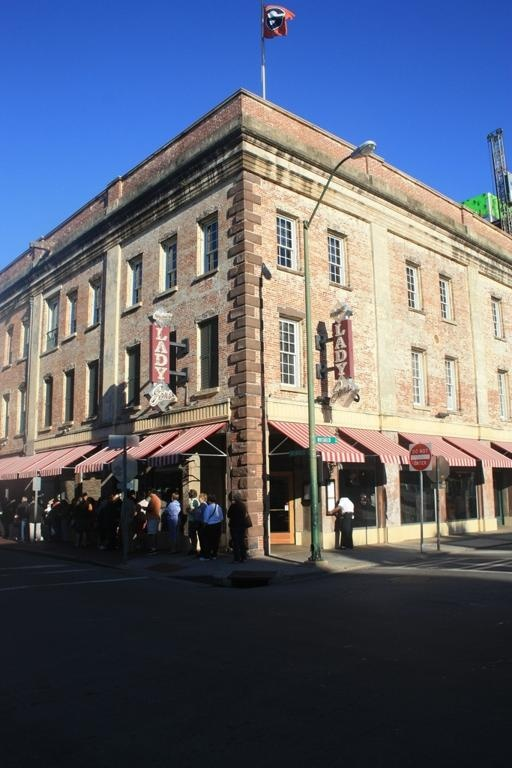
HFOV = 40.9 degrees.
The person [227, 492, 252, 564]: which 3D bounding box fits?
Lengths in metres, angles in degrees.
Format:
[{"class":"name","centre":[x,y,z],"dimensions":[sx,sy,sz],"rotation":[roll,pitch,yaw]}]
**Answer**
[{"class":"person","centre":[-0.392,3.455,16.543],"dimensions":[0.509,1.623,1.183],"rotation":[-1,-14,-1]}]

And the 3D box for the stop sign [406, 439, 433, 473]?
[{"class":"stop sign","centre":[4.419,1.933,18.371],"dimensions":[0.427,0.786,0.756],"rotation":[6,-16,-26]}]
